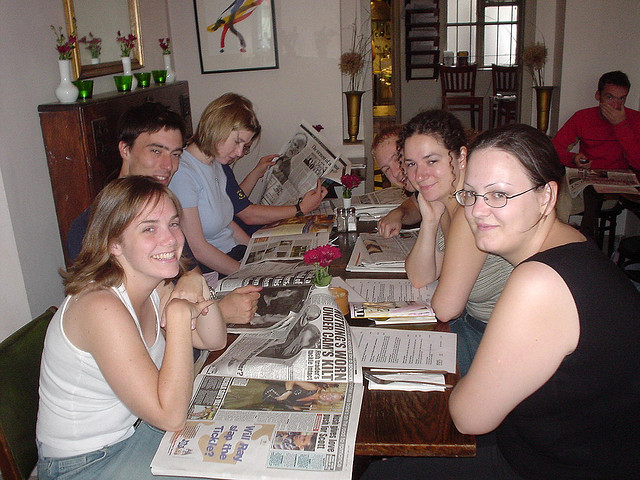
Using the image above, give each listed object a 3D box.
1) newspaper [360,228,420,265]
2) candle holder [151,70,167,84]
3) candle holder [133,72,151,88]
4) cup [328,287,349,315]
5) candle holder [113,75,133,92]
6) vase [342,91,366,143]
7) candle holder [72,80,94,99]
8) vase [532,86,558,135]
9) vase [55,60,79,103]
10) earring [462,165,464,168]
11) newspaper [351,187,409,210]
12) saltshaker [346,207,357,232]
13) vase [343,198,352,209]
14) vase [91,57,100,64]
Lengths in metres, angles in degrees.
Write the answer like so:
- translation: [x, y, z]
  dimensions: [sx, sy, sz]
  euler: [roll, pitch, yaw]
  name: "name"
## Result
- translation: [0.325, 0.032, 2.169]
  dimensions: [0.244, 0.148, 0.365]
  euler: [3, 19, -4]
  name: "newspaper"
- translation: [-1.095, -1.111, 3.219]
  dimensions: [0.088, 0.070, 0.092]
  euler: [3, 11, 5]
  name: "candle holder"
- translation: [-1.127, -1.000, 2.967]
  dimensions: [0.086, 0.074, 0.095]
  euler: [-2, 8, -16]
  name: "candle holder"
- translation: [0.066, 0.202, 1.648]
  dimensions: [0.072, 0.084, 0.086]
  euler: [2, 25, 7]
  name: "cup"
- translation: [-1.128, -0.903, 2.711]
  dimensions: [0.086, 0.076, 0.094]
  euler: [0, 5, -4]
  name: "candle holder"
- translation: [0.298, -1.074, 4.099]
  dimensions: [0.144, 0.427, 0.206]
  euler: [-2, 16, 4]
  name: "vase"
- translation: [-1.211, -0.761, 2.422]
  dimensions: [0.090, 0.081, 0.100]
  euler: [0, 6, -9]
  name: "candle holder"
- translation: [2.093, -1.233, 4.443]
  dimensions: [0.160, 0.419, 0.145]
  euler: [1, 16, 14]
  name: "vase"
- translation: [-1.243, -0.789, 2.340]
  dimensions: [0.101, 0.199, 0.178]
  euler: [-4, 16, -3]
  name: "vase"
- translation: [0.529, -0.275, 1.742]
  dimensions: [0.005, 0.011, 0.018]
  euler: [0, 17, 8]
  name: "earring"
- translation: [0.353, -0.252, 2.858]
  dimensions: [0.216, 0.026, 0.192]
  euler: [-9, 18, -3]
  name: "newspaper"
- translation: [0.166, -0.111, 2.455]
  dimensions: [0.055, 0.119, 0.072]
  euler: [-2, 16, 3]
  name: "saltshaker"
- translation: [0.150, -0.206, 2.601]
  dimensions: [0.058, 0.091, 0.057]
  euler: [1, 14, 2]
  name: "vase"
- translation: [-1.299, -1.044, 2.741]
  dimensions: [0.041, 0.027, 0.042]
  euler: [-1, 14, -12]
  name: "vase"
